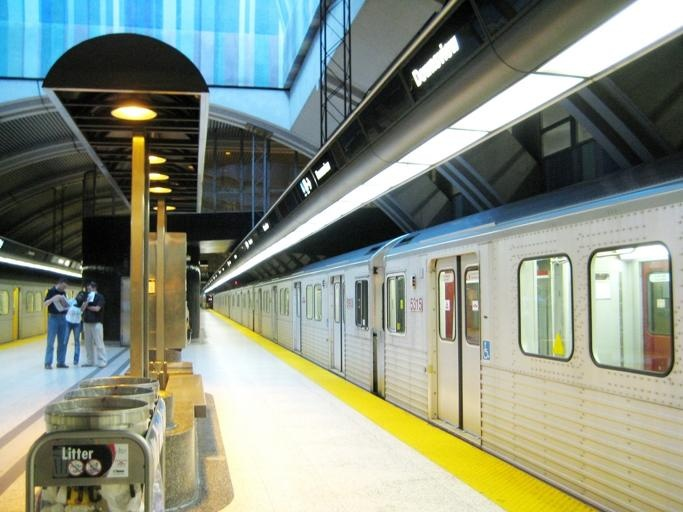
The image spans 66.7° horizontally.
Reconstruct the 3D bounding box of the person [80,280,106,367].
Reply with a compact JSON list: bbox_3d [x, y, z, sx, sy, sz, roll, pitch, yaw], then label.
[{"bbox_3d":[-5.584,1.556,11.657,0.515,1.931,0.999,1,-3,-26],"label":"person"}]

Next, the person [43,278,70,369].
[{"bbox_3d":[-6.518,1.557,11.833,0.464,2.006,0.908,1,-3,-31],"label":"person"}]
